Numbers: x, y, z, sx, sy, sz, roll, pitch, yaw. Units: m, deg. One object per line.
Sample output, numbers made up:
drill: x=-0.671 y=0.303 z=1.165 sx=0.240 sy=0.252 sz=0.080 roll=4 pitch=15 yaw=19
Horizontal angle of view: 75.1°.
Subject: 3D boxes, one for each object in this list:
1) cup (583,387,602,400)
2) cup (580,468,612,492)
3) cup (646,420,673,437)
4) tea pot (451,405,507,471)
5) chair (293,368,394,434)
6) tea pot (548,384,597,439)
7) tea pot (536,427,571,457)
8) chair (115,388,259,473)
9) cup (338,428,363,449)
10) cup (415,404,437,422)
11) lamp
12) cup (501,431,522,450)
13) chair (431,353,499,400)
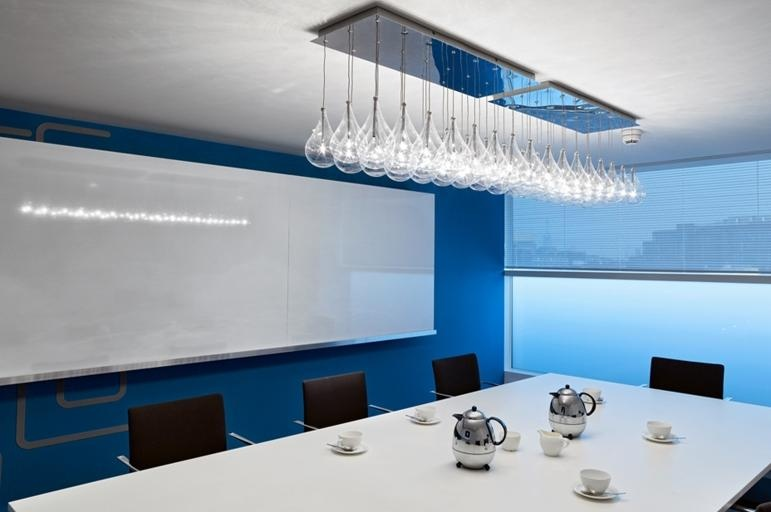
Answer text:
cup: x=1.870 y=1.237 z=4.513 sx=0.165 sy=0.073 sz=0.166 roll=0 pitch=-4 yaw=0
cup: x=1.229 y=1.323 z=2.957 sx=0.134 sy=0.085 sz=0.135 roll=-1 pitch=1 yaw=0
cup: x=2.040 y=1.277 z=3.736 sx=0.134 sy=0.087 sz=0.134 roll=-2 pitch=-1 yaw=0
tea pot: x=0.573 y=1.202 z=3.447 sx=0.429 sy=0.446 sz=0.330 roll=-1 pitch=-5 yaw=32
chair: x=-0.383 y=1.163 z=4.507 sx=0.596 sy=0.806 sz=0.583 roll=2 pitch=-8 yaw=-33
tea pot: x=1.499 y=1.189 z=3.927 sx=0.473 sy=0.460 sz=0.349 roll=1 pitch=-6 yaw=2
tea pot: x=1.154 y=1.267 z=3.450 sx=0.192 sy=0.135 sz=0.141 roll=8 pitch=2 yaw=43
chair: x=-1.569 y=1.165 z=3.908 sx=0.738 sy=0.884 sz=0.685 roll=3 pitch=-15 yaw=-36
cup: x=-0.231 y=1.261 z=3.473 sx=0.122 sy=0.082 sz=0.104 roll=-4 pitch=-2 yaw=21
cup: x=0.314 y=1.254 z=4.018 sx=0.123 sy=0.079 sz=0.101 roll=-6 pitch=-5 yaw=31
lamp: x=0.766 y=-1.045 z=4.282 sx=3.085 sy=1.139 sz=1.213 roll=-1 pitch=3 yaw=-36
cup: x=0.876 y=1.292 z=3.482 sx=0.114 sy=0.084 sz=0.120 roll=0 pitch=0 yaw=0
chair: x=0.734 y=1.215 z=5.152 sx=0.539 sy=0.663 sz=0.510 roll=0 pitch=-7 yaw=-30
